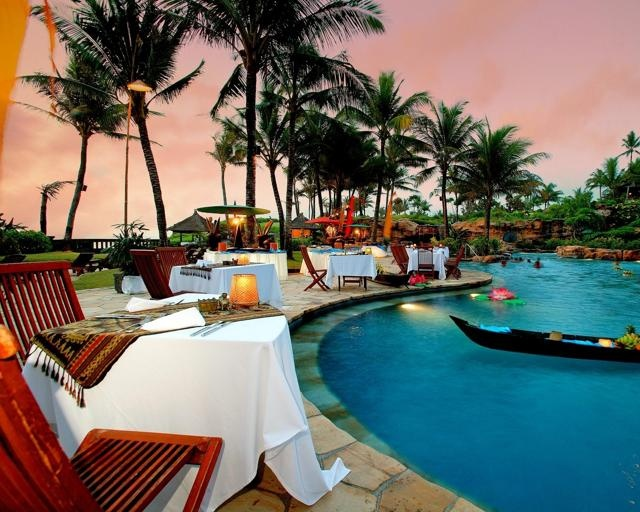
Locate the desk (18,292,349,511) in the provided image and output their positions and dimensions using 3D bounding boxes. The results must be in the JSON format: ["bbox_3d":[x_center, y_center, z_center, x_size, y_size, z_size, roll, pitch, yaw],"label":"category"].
[{"bbox_3d":[-0.878,0.828,2.616,1.510,0.894,1.717,1,0,10],"label":"desk"}]

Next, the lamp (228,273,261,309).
[{"bbox_3d":[-0.636,0.276,3.050,0.279,0.237,0.259,-1,3,-14],"label":"lamp"}]

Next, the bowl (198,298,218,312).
[{"bbox_3d":[-0.892,0.379,2.885,0.133,0.072,0.093,2,7,11],"label":"bowl"}]

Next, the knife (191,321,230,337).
[{"bbox_3d":[-0.742,0.476,2.447,0.055,0.022,0.238,8,11,25],"label":"knife"}]

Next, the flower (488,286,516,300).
[{"bbox_3d":[5.118,1.072,10.187,0.522,0.210,0.460,-1,-1,-27],"label":"flower"}]
